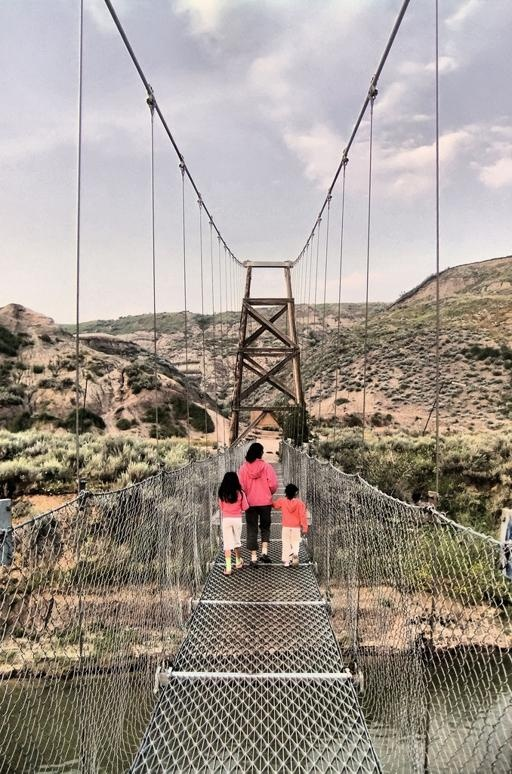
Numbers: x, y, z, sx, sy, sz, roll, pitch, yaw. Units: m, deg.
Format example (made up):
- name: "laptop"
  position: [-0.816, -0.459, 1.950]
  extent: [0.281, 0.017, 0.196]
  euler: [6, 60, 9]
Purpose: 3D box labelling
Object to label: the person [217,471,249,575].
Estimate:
- name: "person"
  position: [-0.203, 1.180, 4.633]
  extent: [0.248, 0.917, 0.490]
  euler: [1, 2, -2]
